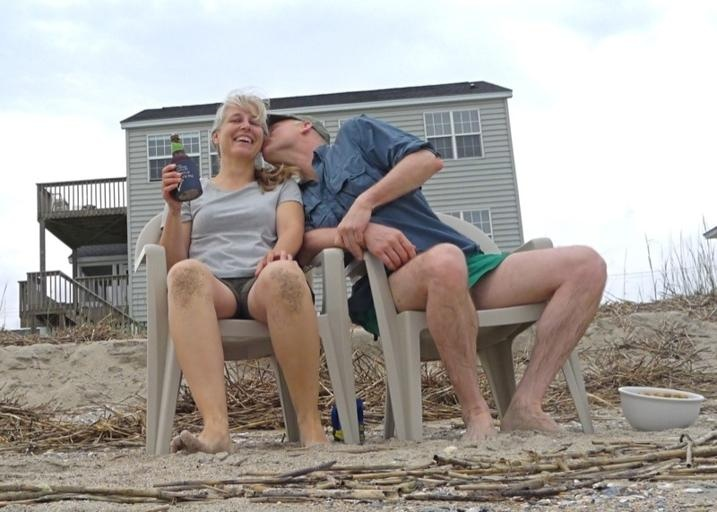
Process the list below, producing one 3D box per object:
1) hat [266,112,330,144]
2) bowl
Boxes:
[{"bbox_3d":[-0.980,-2.099,13.778,0.689,0.390,0.533,-1,1,-7],"label":"hat"},{"bbox_3d":[4.682,2.380,13.065,0.824,0.485,0.812,-1,-13,0],"label":"bowl"}]
